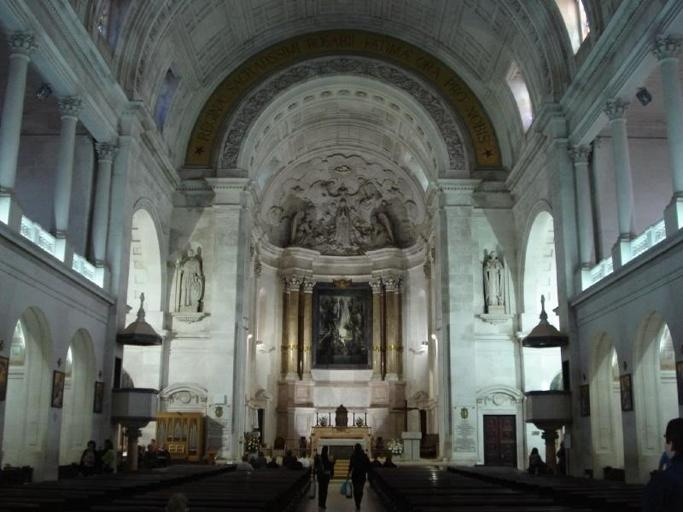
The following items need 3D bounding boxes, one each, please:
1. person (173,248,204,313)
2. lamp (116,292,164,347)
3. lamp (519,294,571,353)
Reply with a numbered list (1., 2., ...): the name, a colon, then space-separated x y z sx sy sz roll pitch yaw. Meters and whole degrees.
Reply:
1. person: -6.000 1.000 23.247 1.141 2.722 0.356 -2 -17 7
2. lamp: -6.306 1.921 18.346 1.454 1.627 1.462 -11 -18 41
3. lamp: 6.325 1.967 18.086 1.782 1.506 1.812 3 -12 -18
